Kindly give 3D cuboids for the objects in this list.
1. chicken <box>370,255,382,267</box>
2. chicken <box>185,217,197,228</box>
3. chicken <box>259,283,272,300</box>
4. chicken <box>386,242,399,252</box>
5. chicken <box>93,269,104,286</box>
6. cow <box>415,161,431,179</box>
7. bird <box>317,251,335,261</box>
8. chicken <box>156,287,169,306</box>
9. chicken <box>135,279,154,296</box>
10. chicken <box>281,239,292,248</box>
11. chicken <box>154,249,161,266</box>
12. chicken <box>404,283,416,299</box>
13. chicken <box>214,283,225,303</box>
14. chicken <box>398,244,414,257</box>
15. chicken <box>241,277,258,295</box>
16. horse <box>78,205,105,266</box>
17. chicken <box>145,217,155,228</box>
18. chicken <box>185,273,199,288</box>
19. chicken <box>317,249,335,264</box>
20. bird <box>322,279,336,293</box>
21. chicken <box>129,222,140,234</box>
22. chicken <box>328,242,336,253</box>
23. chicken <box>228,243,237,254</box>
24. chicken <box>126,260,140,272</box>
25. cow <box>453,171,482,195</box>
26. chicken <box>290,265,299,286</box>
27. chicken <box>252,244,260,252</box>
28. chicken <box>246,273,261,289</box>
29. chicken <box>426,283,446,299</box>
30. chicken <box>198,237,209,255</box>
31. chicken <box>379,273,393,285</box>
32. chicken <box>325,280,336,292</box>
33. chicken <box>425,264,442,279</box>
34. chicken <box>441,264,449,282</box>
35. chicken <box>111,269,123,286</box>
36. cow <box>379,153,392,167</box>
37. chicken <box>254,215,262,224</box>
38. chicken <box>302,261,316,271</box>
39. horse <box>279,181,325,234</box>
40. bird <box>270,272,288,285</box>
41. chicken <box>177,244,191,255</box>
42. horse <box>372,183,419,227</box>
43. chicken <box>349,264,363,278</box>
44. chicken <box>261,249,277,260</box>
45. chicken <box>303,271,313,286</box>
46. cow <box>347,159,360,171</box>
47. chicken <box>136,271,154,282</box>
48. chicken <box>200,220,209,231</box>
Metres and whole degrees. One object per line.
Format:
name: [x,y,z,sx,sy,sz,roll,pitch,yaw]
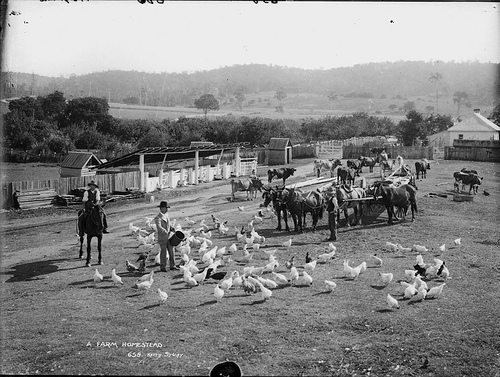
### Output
chicken: [6.663,3.837,34.431,0.552,0.612,0.779,-1,4,12]
chicken: [-3.830,2.199,42.156,0.391,0.450,0.628,-19,0,22]
chicken: [0.743,4.879,30.743,0.382,0.909,0.862,-23,-17,15]
chicken: [8.028,3.317,36.796,0.585,0.582,1.356,-1,5,11]
chicken: [-7.585,4.444,32.770,0.429,0.801,0.682,-3,4,-16]
cow: [15.711,-1.718,59.715,1.116,1.498,3.666,-1,5,14]
bird: [4.086,3.682,35.004,0.895,0.542,0.703,-4,5,-22]
chicken: [-4.081,5.062,30.673,0.495,0.863,0.757,-3,4,-11]
chicken: [-5.067,4.764,31.773,0.757,0.776,1.187,-3,4,-10]
chicken: [2.119,3.165,37.356,0.514,0.431,0.774,-2,4,0]
chicken: [-4.832,3.679,34.492,0.287,0.864,1.101,-3,4,-10]
chicken: [7.542,4.860,30.872,0.505,0.738,0.518,-1,4,13]
chicken: [-1.451,4.931,30.899,0.446,0.840,0.844,-2,4,-3]
chicken: [8.586,3.427,36.210,0.670,0.650,0.870,-1,5,17]
chicken: [-0.031,4.673,31.219,0.707,0.923,0.658,-3,4,-8]
horse: [-8.790,2.482,36.375,1.248,3.384,4.351,0,1,-24]
chicken: [-6.483,2.261,42.287,0.445,0.675,0.708,0,13,-5]
chicken: [-2.852,4.496,32.017,0.603,0.753,0.504,-3,4,-4]
chicken: [4.083,3.674,35.135,0.899,0.666,0.760,-1,4,11]
bird: [3.909,4.643,31.548,0.669,0.460,0.347,37,36,14]
chicken: [-7.326,2.492,41.023,0.434,0.638,0.790,0,-4,17]
chicken: [4.452,3.206,35.549,0.263,0.440,0.779,-4,-10,11]
chicken: [-0.933,3.308,35.747,0.296,0.423,0.585,0,-1,-10]
chicken: [-6.052,4.004,33.936,0.630,0.567,1.052,-3,5,-14]
cow: [17.494,-0.482,52.888,1.900,1.838,3.146,-1,5,18]
chicken: [2.181,4.330,32.338,0.406,0.925,0.697,-2,4,3]
chicken: [0.354,3.309,36.594,0.409,0.380,0.422,1,-2,0]
chicken: [0.210,4.456,31.182,0.667,0.268,0.493,31,6,-15]
chicken: [8.953,4.954,31.546,0.841,0.572,0.317,-27,13,4]
chicken: [-2.480,3.114,35.241,0.235,0.440,0.781,-1,43,24]
chicken: [6.722,4.458,32.165,0.589,0.626,0.747,-1,4,12]
chicken: [3.876,4.688,31.466,0.485,0.467,0.312,-2,4,8]
chicken: [9.215,4.141,32.831,0.813,0.656,0.439,-16,12,-6]
chicken: [9.822,4.257,32.969,0.276,0.950,0.589,0,5,23]
chicken: [-6.534,4.406,32.303,0.482,0.886,0.875,-3,4,-12]
cow: [13.461,-2.823,65.335,1.193,1.736,0.697,8,-11,-11]
chicken: [0.544,2.039,42.572,0.466,0.592,1.151,-2,4,2]
chicken: [3.086,3.987,33.588,0.570,0.591,0.970,-2,4,9]
horse: [3.350,1.257,40.836,3.960,2.759,1.231,1,0,-28]
bird: [1.490,4.448,32.186,0.426,0.514,0.792,-12,11,-40]
chicken: [-3.427,3.229,34.743,0.383,0.519,0.455,-11,46,-14]
horse: [9.527,0.830,42.456,3.796,2.573,1.062,-6,11,-30]
chicken: [5.332,4.191,32.914,0.430,0.681,0.745,1,5,38]
chicken: [0.941,3.496,35.301,0.957,0.663,0.338,7,-2,20]
chicken: [2.930,4.457,32.100,0.297,0.590,0.402,-30,35,14]
cow: [9.633,-2.148,60.762,1.088,0.734,1.845,2,11,7]
chicken: [-5.032,4.285,31.707,0.892,0.614,0.381,-14,-13,10]
chicken: [-2.867,2.336,40.368,0.622,0.615,0.477,9,8,12]
